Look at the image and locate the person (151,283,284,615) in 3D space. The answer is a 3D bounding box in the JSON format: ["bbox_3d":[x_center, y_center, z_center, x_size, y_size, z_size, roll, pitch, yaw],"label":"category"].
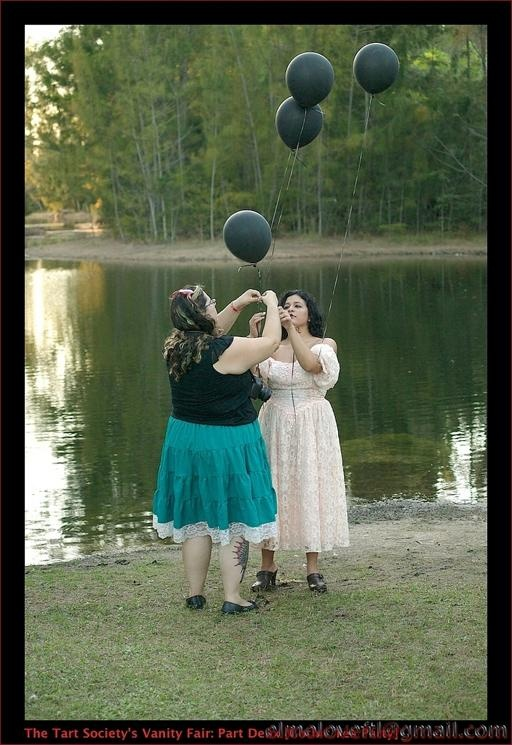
[{"bbox_3d":[-0.167,0.352,5.535,0.609,1.477,0.433,-2,-3,-6],"label":"person"}]

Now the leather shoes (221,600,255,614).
[{"bbox_3d":[-0.079,1.070,5.552,0.057,0.056,0.171,2,3,41],"label":"leather shoes"}]

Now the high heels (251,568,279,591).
[{"bbox_3d":[0.035,1.026,5.993,0.054,0.068,0.156,-5,-10,25],"label":"high heels"}]

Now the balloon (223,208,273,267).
[{"bbox_3d":[-0.025,-0.619,5.929,0.215,0.278,0.153,1,33,31],"label":"balloon"}]

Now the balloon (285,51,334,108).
[{"bbox_3d":[0.263,-1.460,6.098,0.234,0.306,0.262,-1,19,-11],"label":"balloon"}]

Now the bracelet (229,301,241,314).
[{"bbox_3d":[-0.095,-0.309,5.876,0.042,0.025,0.055,22,-9,-10],"label":"bracelet"}]

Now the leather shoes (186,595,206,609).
[{"bbox_3d":[-0.276,1.054,5.627,0.057,0.051,0.119,0,0,-3],"label":"leather shoes"}]
